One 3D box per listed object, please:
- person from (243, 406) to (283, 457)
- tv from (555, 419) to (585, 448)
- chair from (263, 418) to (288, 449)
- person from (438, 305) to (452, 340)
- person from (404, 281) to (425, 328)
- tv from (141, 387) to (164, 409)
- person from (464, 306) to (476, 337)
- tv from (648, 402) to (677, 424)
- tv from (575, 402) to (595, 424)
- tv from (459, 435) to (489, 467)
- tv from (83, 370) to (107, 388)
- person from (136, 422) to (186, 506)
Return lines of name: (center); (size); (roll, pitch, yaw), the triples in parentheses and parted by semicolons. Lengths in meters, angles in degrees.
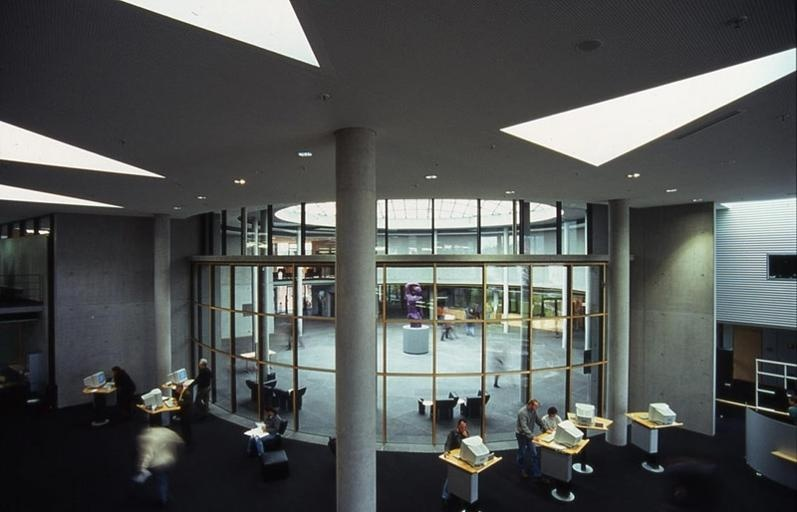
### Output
person: (-4.233, 5.462, 16.831); (1.078, 1.396, 0.908); (-2, 12, -31)
tv: (4.790, 4.960, 15.004); (0.604, 0.461, 0.619); (10, 13, 41)
chair: (-4.046, 5.722, 17.128); (0.772, 0.954, 0.795); (-5, -22, -4)
person: (1.485, 2.185, 17.404); (0.420, 1.142, 0.165); (-3, 10, -18)
person: (0.446, 1.510, 17.273); (0.588, 1.201, 0.285); (0, 10, -1)
tv: (-8.110, 4.691, 17.530); (0.520, 0.454, 0.447); (-3, 10, -18)
person: (2.312, 2.128, 17.530); (0.336, 0.966, 0.232); (2, 10, 7)
tv: (8.027, 4.858, 16.356); (0.677, 0.597, 0.665); (-4, 18, 1)
tv: (5.682, 4.721, 16.193); (0.634, 0.615, 0.503); (1, -7, 3)
tv: (1.973, 5.099, 14.157); (0.633, 0.482, 0.627); (-10, 12, -26)
tv: (-11.438, 4.641, 20.006); (0.391, 0.499, 0.715); (-18, 0, 42)
person: (-7.328, 6.229, 16.083); (0.933, 0.950, 3.162); (-2, 12, -14)
